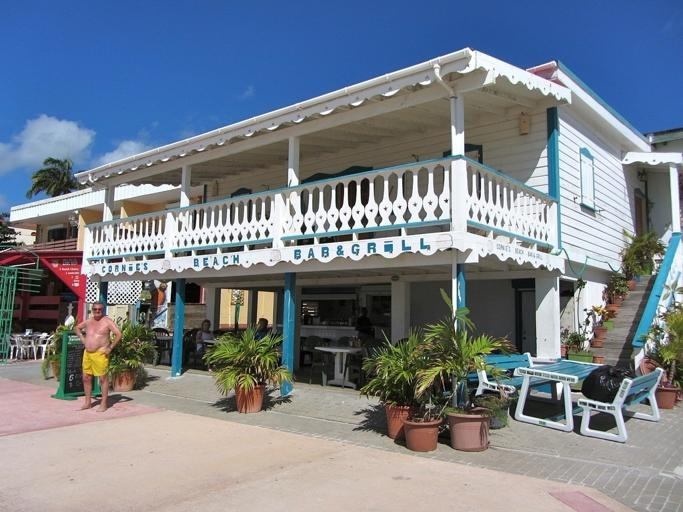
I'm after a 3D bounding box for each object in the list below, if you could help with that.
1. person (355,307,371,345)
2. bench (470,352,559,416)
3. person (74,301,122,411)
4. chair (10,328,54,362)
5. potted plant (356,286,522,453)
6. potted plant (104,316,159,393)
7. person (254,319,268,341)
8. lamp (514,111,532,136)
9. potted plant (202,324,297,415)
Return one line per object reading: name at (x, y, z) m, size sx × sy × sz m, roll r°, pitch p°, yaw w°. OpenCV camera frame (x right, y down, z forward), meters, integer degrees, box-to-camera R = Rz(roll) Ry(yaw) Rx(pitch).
person at (0.619, 2.008, 14.457) m, size 0.531 × 1.059 × 0.539 m, roll -1°, pitch -5°, yaw 35°
bench at (2.912, 2.179, 8.599) m, size 1.387 × 0.633 × 0.583 m, roll 7°, pitch -12°, yaw -44°
person at (-4.516, 1.836, 9.386) m, size 0.775 × 1.948 × 0.653 m, roll -2°, pitch -4°, yaw 40°
chair at (-10.308, 2.985, 16.829) m, size 1.235 × 0.659 × 1.275 m, roll -7°, pitch -16°, yaw 24°
potted plant at (1.329, 1.622, 7.343) m, size 1.779 × 2.249 × 1.044 m, roll 0°, pitch -3°, yaw 18°
potted plant at (-4.739, 2.194, 11.512) m, size 1.401 × 1.530 × 1.320 m, roll 6°, pitch -10°, yaw -21°
person at (-1.952, 1.805, 12.408) m, size 0.358 × 0.515 × 0.879 m, roll 7°, pitch -12°, yaw -23°
lamp at (3.923, -2.853, 10.849) m, size 0.267 × 0.503 × 0.092 m, roll 0°, pitch -3°, yaw 15°
potted plant at (-1.706, 2.226, 9.778) m, size 1.478 × 1.396 × 1.551 m, roll -2°, pitch -19°, yaw 9°
